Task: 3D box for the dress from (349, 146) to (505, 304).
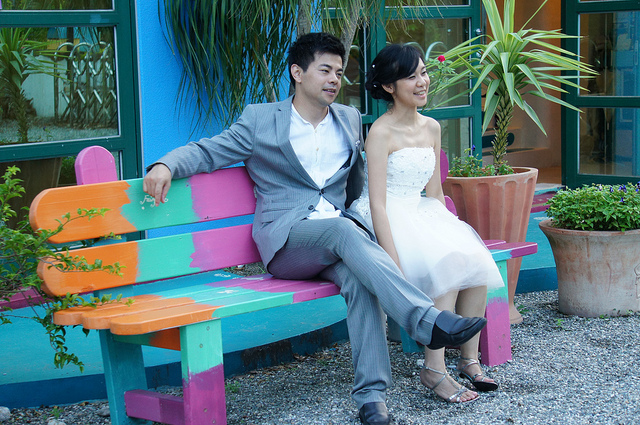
[{"bbox_3d":[0.621,0.041,3.223,0.907,0.964,0.608,5,6,42],"label":"dress"}]
